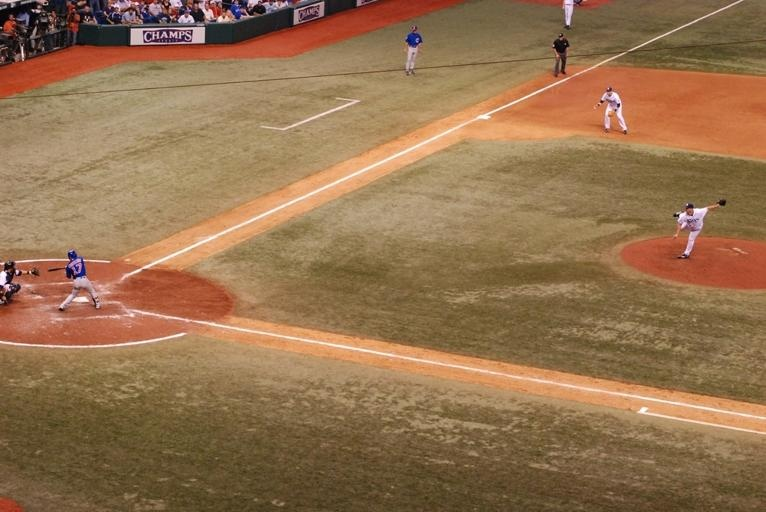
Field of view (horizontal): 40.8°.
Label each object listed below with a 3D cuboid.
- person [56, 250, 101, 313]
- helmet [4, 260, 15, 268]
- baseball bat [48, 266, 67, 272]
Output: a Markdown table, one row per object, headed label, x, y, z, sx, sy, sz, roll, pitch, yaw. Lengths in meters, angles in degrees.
| label | x | y | z | sx | sy | sz | roll | pitch | yaw |
| --- | --- | --- | --- | --- | --- | --- | --- | --- | --- |
| person | -9.508 | 0.648 | 31.876 | 1.210 | 1.918 | 1.533 | -9 | 18 | -12 |
| helmet | -11.577 | 0.249 | 32.004 | 0.284 | 0.254 | 0.530 | -7 | 14 | -11 |
| baseball bat | -10.504 | 0.390 | 33.248 | 1.227 | 0.101 | 0.212 | -3 | -1 | 40 |
